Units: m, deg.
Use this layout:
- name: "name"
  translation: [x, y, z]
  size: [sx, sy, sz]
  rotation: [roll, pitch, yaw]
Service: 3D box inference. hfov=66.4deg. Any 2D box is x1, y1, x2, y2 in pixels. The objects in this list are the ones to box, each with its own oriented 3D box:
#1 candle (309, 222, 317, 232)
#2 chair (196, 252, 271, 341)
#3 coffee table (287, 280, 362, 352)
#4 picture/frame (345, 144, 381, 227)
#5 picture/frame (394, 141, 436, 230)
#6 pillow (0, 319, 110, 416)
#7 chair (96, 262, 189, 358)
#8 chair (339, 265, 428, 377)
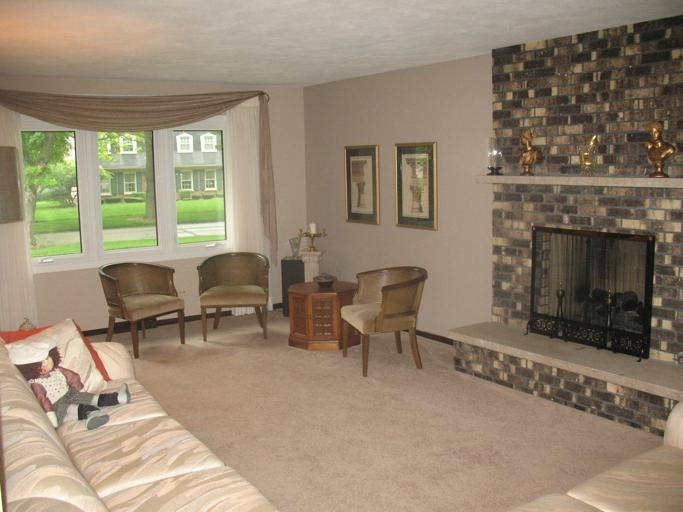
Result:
- name: "candle"
  translation: [-0.416, -0.402, 7.437]
  size: [0.092, 0.148, 0.264]
  rotation: [-3, 12, -6]
- name: "chair"
  translation: [-1.323, 0.465, 6.629]
  size: [0.895, 0.904, 0.746]
  rotation: [0, 9, 1]
- name: "coffee table"
  translation: [-0.125, 0.739, 6.391]
  size: [0.961, 0.670, 0.950]
  rotation: [-2, 0, -26]
- name: "picture/frame"
  translation: [0.260, -0.964, 7.042]
  size: [0.026, 1.052, 0.812]
  rotation: [6, 10, 37]
- name: "picture/frame"
  translation: [0.898, -0.843, 6.273]
  size: [0.177, 1.004, 0.735]
  rotation: [-9, 14, -27]
- name: "pillow"
  translation: [-2.038, 0.764, 3.809]
  size: [0.183, 0.574, 0.582]
  rotation: [-36, -10, 40]
- name: "chair"
  translation: [-2.428, 0.587, 6.182]
  size: [0.873, 0.898, 0.793]
  rotation: [6, 12, 23]
- name: "chair"
  translation: [0.466, 0.642, 5.619]
  size: [0.844, 0.931, 0.901]
  rotation: [-5, 8, -17]
